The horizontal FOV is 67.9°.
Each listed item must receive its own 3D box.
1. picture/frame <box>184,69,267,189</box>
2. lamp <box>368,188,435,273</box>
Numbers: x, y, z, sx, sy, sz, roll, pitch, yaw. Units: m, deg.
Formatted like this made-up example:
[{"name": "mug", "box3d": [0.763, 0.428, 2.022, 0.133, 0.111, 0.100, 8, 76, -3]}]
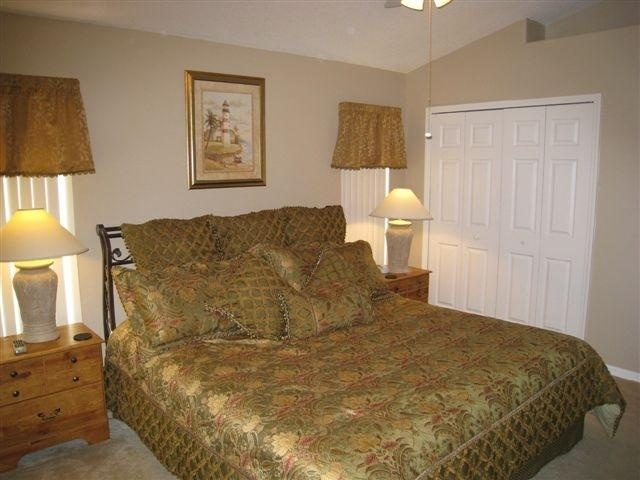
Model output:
[{"name": "picture/frame", "box3d": [-0.870, -1.002, 4.198, 0.977, 1.300, 0.089, -7, 13, -39]}, {"name": "lamp", "box3d": [0.827, -0.082, 4.965, 0.587, 0.867, 0.604, 2, 5, 0]}]
